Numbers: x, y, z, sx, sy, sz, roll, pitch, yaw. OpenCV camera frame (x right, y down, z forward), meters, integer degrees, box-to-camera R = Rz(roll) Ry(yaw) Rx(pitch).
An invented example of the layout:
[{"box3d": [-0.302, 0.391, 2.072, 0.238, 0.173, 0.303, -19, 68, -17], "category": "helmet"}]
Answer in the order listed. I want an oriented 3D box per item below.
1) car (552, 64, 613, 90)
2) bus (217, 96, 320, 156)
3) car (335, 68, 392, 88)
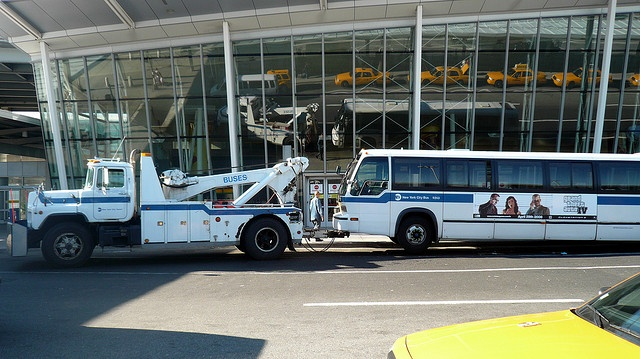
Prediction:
[{"box3d": [17.193, -6.831, 43.048, 4.122, 1.693, 1.960, 0, 0, 37], "category": "car"}, {"box3d": [-3.097, -3.544, 42.642, 3.466, 3.751, 13.611, 1, 1, 32], "category": "bus"}, {"box3d": [2.717, -6.509, 42.633, 3.224, 0.859, 1.309, 3, 13, 0], "category": "car"}]
